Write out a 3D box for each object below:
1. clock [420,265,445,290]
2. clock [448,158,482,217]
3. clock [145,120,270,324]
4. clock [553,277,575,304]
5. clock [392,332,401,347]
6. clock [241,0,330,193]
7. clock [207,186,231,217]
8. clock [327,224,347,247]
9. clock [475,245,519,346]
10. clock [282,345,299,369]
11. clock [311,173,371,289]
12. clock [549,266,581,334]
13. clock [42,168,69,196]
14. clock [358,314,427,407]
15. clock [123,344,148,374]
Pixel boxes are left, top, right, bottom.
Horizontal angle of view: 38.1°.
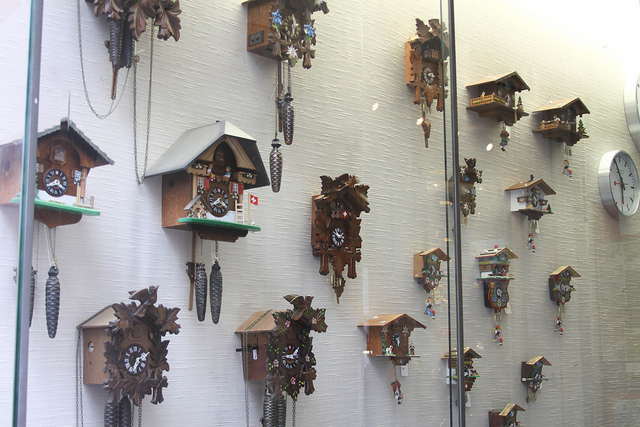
[{"bbox_3d":[0.314,0.177,2.591,0.034,0.084,0.079,-8,-8,43],"label":"clock"},{"bbox_3d":[0.392,-0.071,2.427,0.059,0.159,0.031,1,-9,7],"label":"clock"},{"bbox_3d":[-0.314,0.020,2.630,0.243,0.560,0.317,-5,-9,40],"label":"clock"},{"bbox_3d":[0.621,0.195,2.380,0.067,0.064,0.036,-3,4,-42],"label":"clock"},{"bbox_3d":[0.216,0.361,2.653,0.027,0.032,0.004,9,-35,-16],"label":"clock"},{"bbox_3d":[-0.121,-0.441,2.810,0.264,0.439,0.124,7,-10,-26],"label":"clock"},{"bbox_3d":[-0.290,-0.033,2.610,0.008,0.085,0.085,-10,-4,39],"label":"clock"},{"bbox_3d":[0.057,0.068,2.930,0.066,0.066,0.064,2,-4,-20],"label":"clock"},{"bbox_3d":[0.446,0.200,2.356,0.096,0.238,0.084,2,-4,-27],"label":"clock"},{"bbox_3d":[-0.086,0.418,2.705,0.013,0.069,0.061,-7,-13,44],"label":"clock"},{"bbox_3d":[0.059,0.054,2.903,0.180,0.359,0.105,2,-9,-1],"label":"clock"},{"bbox_3d":[0.628,0.220,2.403,0.054,0.178,0.112,-3,-11,31],"label":"clock"},{"bbox_3d":[-0.690,-0.082,2.399,0.011,0.066,0.067,-7,-11,43],"label":"clock"},{"bbox_3d":[0.202,0.417,2.672,0.158,0.258,0.189,3,-9,-8],"label":"clock"},{"bbox_3d":[-0.489,0.385,2.450,0.016,0.103,0.105,0,4,25],"label":"clock"}]
